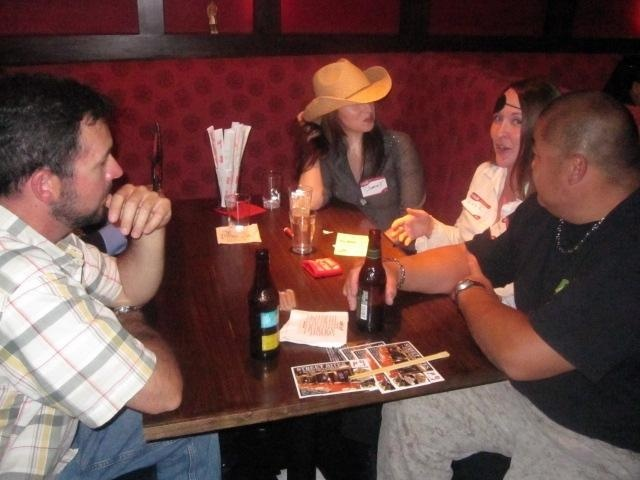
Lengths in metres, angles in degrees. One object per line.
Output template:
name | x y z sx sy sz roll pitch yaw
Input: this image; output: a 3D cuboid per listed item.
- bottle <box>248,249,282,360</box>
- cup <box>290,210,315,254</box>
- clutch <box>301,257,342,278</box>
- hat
bottle | -0.171 0.170 1.415 0.097 0.304 0.226 -6 34 -5
cup | -0.071 -0.034 1.971 0.121 0.195 0.122 2 18 -1
clutch | 0.012 0.094 1.827 0.083 0.024 0.087 1 20 -26
hat | 0.145 -0.789 2.696 0.427 0.185 0.348 -30 22 18
